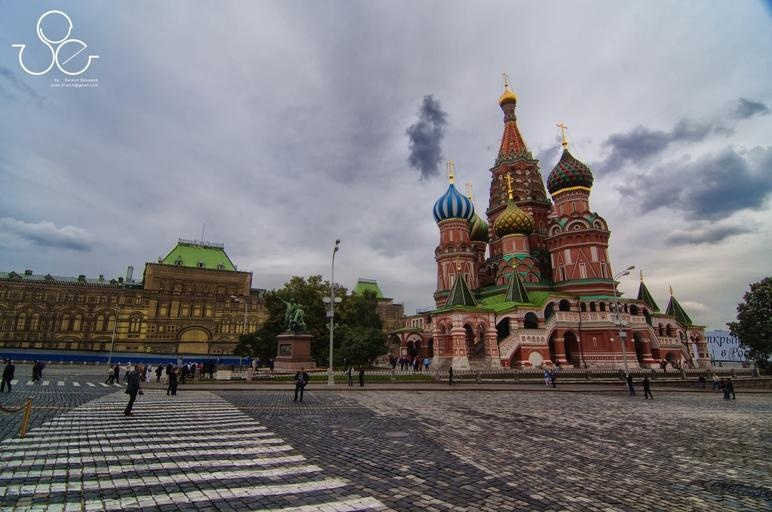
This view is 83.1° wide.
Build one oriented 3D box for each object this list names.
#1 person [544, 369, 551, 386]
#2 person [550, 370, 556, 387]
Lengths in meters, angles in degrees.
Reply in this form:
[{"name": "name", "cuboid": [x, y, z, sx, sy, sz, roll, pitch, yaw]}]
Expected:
[{"name": "person", "cuboid": [11.786, 8.945, 31.751, 0.335, 1.002, 0.939, -5, -17, 8]}, {"name": "person", "cuboid": [11.959, 8.882, 31.357, 0.343, 1.084, 1.444, -8, -17, 17]}]
